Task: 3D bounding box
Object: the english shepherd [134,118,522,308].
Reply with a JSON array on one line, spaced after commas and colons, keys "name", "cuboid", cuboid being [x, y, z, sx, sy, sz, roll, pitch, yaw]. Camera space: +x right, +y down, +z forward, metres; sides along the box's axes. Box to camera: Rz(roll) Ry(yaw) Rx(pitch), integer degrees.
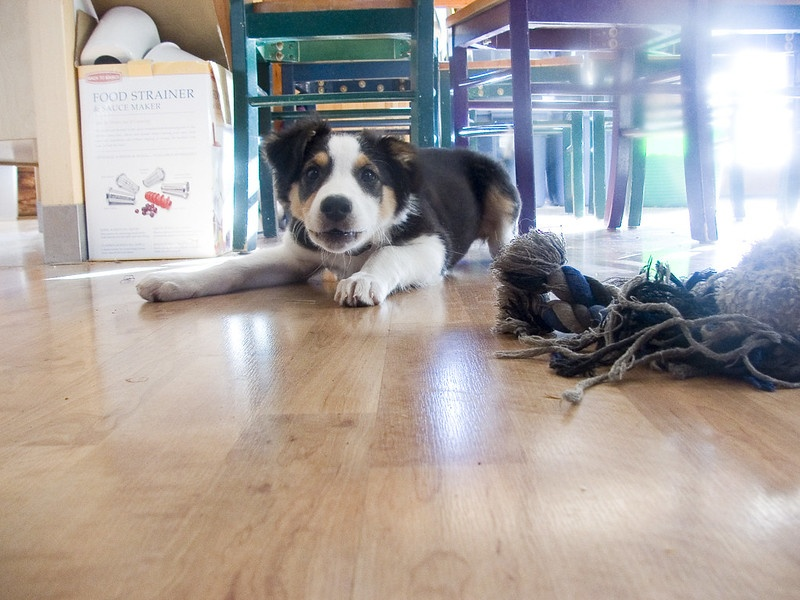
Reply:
[{"name": "english shepherd", "cuboid": [-0.057, -0.238, 2.098, 0.683, 0.360, 1.011, 7, 11, 19]}]
